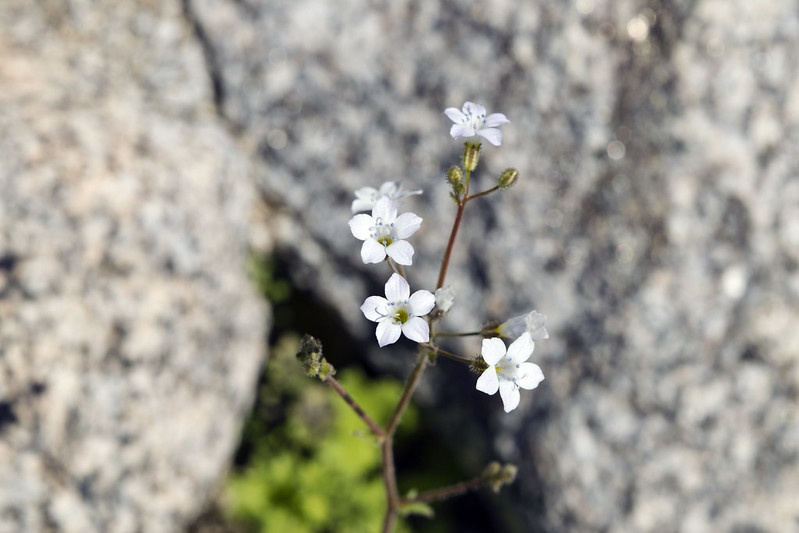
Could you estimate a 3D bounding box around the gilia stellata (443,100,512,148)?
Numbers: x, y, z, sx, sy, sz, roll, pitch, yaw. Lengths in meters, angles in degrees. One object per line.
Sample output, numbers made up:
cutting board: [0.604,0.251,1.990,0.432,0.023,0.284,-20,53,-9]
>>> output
gilia stellata: [0.554,-0.982,9.560,0.367,0.143,0.380,-40,78,-22]
